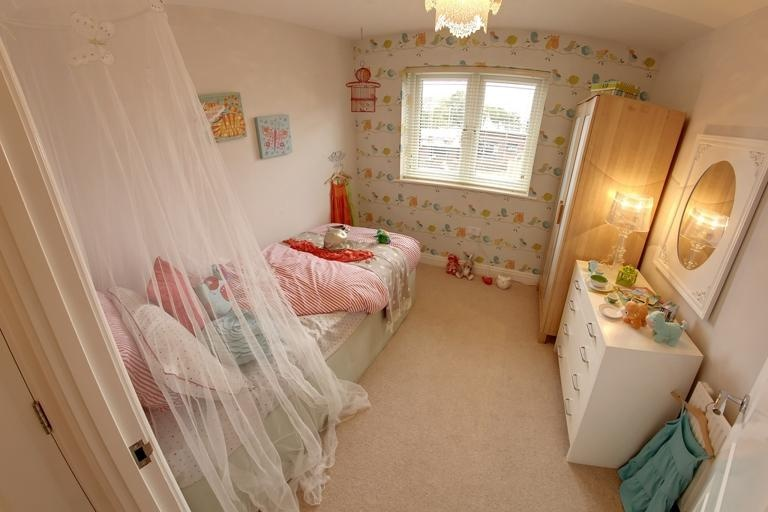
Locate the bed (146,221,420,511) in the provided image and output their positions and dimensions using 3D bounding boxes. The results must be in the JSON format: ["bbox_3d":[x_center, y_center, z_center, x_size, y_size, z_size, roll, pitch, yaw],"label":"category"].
[{"bbox_3d":[-0.613,0.756,2.959,1.090,0.394,1.537,-32,43,-31],"label":"bed"}]

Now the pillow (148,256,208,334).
[{"bbox_3d":[-1.080,0.213,2.453,0.268,0.428,0.050,-5,19,-12],"label":"pillow"}]

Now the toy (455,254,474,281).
[{"bbox_3d":[0.906,0.130,5.333,0.227,0.367,0.243,6,36,6],"label":"toy"}]

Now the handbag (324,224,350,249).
[{"bbox_3d":[-0.435,-0.176,4.321,0.233,0.229,0.175,-3,13,-22],"label":"handbag"}]

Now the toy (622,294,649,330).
[{"bbox_3d":[1.614,0.365,3.141,0.155,0.237,0.169,5,12,10],"label":"toy"}]

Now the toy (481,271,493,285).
[{"bbox_3d":[1.129,0.248,5.177,0.103,0.043,0.101,10,30,16],"label":"toy"}]

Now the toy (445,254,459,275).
[{"bbox_3d":[0.777,0.102,5.370,0.118,0.215,0.172,-7,16,-13],"label":"toy"}]

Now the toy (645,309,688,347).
[{"bbox_3d":[1.749,0.430,2.986,0.252,0.238,0.158,0,24,36],"label":"toy"}]

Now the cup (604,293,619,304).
[{"bbox_3d":[1.567,0.285,3.268,0.067,0.039,0.066,-20,26,10],"label":"cup"}]

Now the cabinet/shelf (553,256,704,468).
[{"bbox_3d":[1.626,0.725,3.104,0.576,0.924,1.054,5,30,14],"label":"cabinet/shelf"}]

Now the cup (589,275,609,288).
[{"bbox_3d":[1.550,0.182,3.416,0.096,0.049,0.095,-4,28,2],"label":"cup"}]

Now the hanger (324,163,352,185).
[{"bbox_3d":[-0.504,-0.886,5.229,0.111,0.215,0.440,7,19,22],"label":"hanger"}]

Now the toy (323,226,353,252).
[{"bbox_3d":[-0.445,-0.151,4.385,0.248,0.243,0.186,-5,12,-34],"label":"toy"}]

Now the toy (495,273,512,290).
[{"bbox_3d":[1.286,0.270,5.090,0.181,0.128,0.213,2,18,7],"label":"toy"}]

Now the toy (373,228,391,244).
[{"bbox_3d":[-0.028,-0.180,4.566,0.189,0.094,0.239,0,25,-2],"label":"toy"}]
